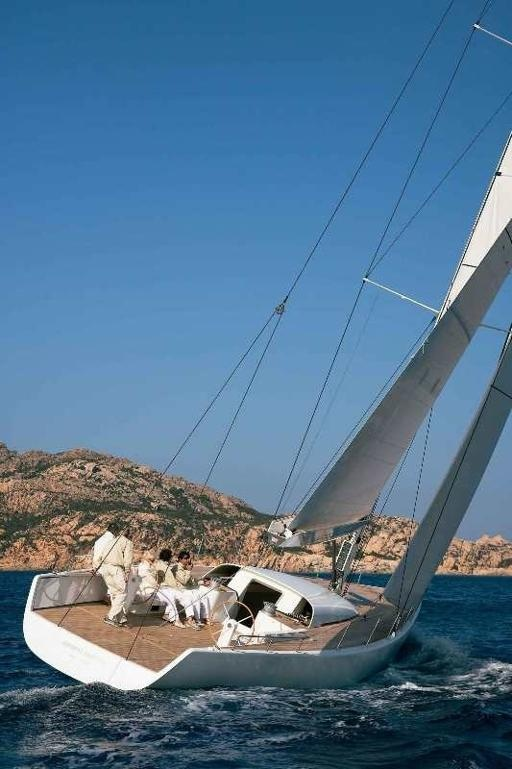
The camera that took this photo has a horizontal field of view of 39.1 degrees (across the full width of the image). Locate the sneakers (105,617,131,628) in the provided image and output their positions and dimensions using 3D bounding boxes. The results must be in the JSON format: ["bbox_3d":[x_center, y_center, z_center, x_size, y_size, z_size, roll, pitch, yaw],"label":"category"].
[{"bbox_3d":[-2.017,3.472,10.467,0.434,0.123,0.160,8,-51,-23],"label":"sneakers"}]

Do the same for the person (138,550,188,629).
[{"bbox_3d":[-1.496,3.174,11.293,0.774,1.147,0.640,5,-13,-7],"label":"person"}]

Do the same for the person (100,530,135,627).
[{"bbox_3d":[-2.086,2.849,10.620,0.437,1.308,0.334,6,-13,-11],"label":"person"}]
